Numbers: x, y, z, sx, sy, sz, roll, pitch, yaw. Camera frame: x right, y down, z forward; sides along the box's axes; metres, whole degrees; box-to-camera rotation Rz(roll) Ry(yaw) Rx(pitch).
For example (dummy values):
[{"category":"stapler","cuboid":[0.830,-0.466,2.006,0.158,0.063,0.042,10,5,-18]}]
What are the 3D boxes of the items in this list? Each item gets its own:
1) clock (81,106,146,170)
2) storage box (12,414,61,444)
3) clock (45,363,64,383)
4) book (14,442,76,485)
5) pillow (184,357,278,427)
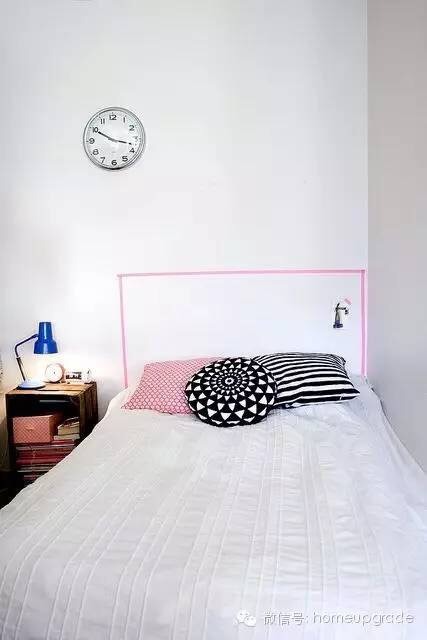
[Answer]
[{"category":"clock","cuboid":[-0.501,-0.922,2.512,0.287,0.312,0.070,18,10,1]},{"category":"storage box","cuboid":[-0.865,0.526,2.353,0.144,0.099,0.153,-1,2,1]},{"category":"clock","cuboid":[-0.826,0.279,2.517,0.092,0.100,0.041,13,0,5]},{"category":"book","cuboid":[-0.848,0.682,2.410,0.340,0.129,0.287,-1,1,-4]},{"category":"pillow","cuboid":[0.078,0.278,1.959,0.293,0.338,0.101,-9,17,19]}]
